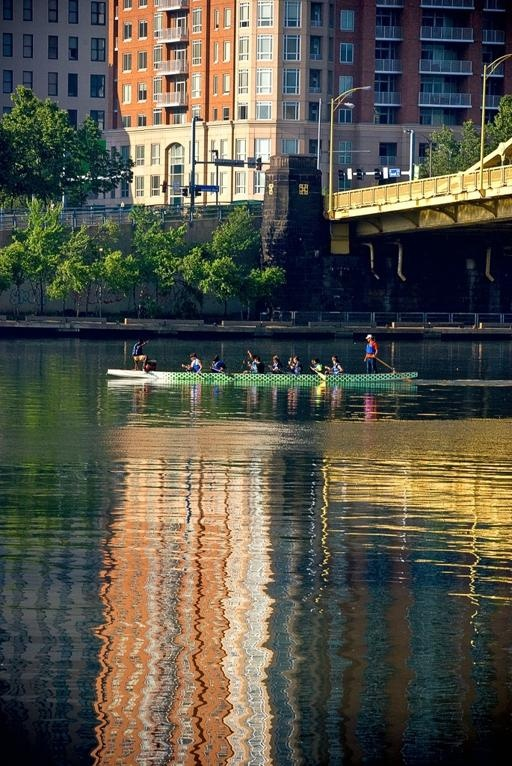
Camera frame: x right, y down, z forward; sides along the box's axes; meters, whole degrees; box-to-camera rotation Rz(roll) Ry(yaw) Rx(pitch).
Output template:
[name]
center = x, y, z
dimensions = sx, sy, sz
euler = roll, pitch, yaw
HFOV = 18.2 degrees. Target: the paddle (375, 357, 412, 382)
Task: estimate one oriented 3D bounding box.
[paddle]
center = 4.573, -0.335, 54.182
dimensions = 1.248, 0.715, 0.790
euler = 2, 6, 27
